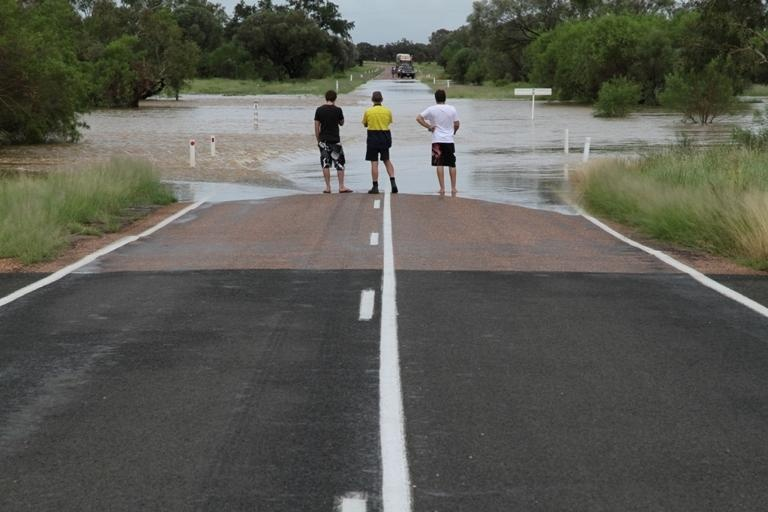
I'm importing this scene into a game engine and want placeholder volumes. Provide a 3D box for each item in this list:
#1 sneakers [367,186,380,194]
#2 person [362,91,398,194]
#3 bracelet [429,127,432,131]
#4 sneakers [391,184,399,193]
[{"bbox_3d":[-0.263,-1.669,17.891,0.273,0.277,0.521,0,14,-1],"label":"sneakers"},{"bbox_3d":[-0.112,-2.743,17.833,0.771,2.430,1.386,0,12,0],"label":"person"},{"bbox_3d":[1.107,-3.047,17.713,0.090,0.040,0.126,1,-6,6],"label":"bracelet"},{"bbox_3d":[0.240,-1.638,17.869,0.149,0.209,0.418,0,14,-1],"label":"sneakers"}]
